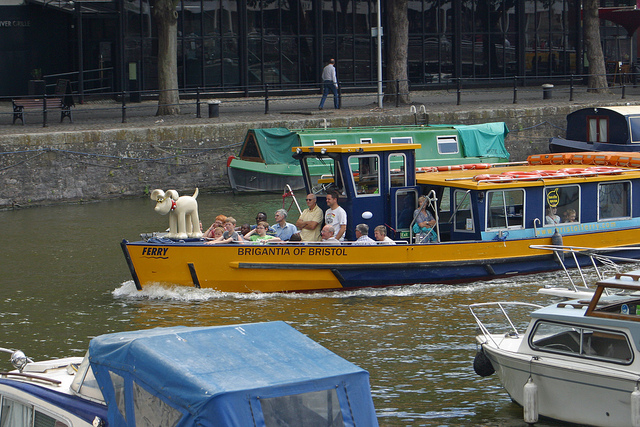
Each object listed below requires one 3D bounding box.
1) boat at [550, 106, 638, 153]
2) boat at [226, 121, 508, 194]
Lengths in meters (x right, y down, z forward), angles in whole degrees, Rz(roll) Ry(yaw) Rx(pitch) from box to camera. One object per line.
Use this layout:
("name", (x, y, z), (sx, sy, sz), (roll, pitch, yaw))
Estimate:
("boat", (11.197, -3.309, 67.088), (2.948, 1.296, 1.663), (-8, 12, -34))
("boat", (2.247, -2.318, 68.393), (12.389, 2.657, 3.377), (-4, 13, -19))
